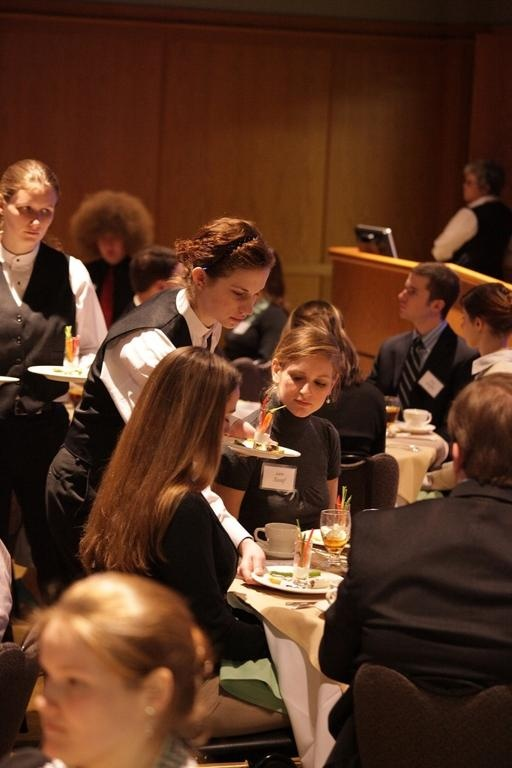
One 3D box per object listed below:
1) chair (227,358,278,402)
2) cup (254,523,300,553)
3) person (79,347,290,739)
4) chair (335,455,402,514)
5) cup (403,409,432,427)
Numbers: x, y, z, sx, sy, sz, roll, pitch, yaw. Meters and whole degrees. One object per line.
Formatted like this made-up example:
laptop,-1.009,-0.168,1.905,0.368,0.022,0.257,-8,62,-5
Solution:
chair,0.031,-0.009,4.329,0.302,0.321,0.256,-8,17,-40
cup,0.064,0.463,1.991,0.126,0.076,0.094,0,3,9
person,-0.117,0.326,1.569,0.502,0.762,0.519,3,8,13
chair,0.515,0.404,2.946,0.254,0.315,0.279,3,12,13
cup,0.908,0.188,3.697,0.123,0.074,0.098,4,-1,-4
